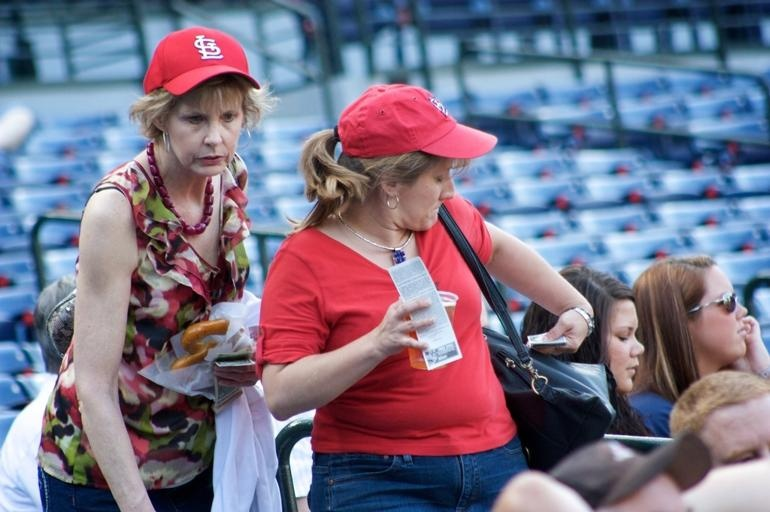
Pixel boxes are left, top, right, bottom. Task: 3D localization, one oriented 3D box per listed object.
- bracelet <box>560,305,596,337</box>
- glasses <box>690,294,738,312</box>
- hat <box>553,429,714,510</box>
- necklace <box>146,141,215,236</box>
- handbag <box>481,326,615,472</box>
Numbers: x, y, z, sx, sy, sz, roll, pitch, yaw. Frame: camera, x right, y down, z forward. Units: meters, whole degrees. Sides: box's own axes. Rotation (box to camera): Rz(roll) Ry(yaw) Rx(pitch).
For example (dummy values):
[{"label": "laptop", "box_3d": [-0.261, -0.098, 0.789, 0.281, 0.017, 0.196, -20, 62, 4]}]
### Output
[{"label": "bracelet", "box_3d": [1.471, 0.452, 9.633, 0.241, 0.204, 0.095, 27, 72, 44]}, {"label": "glasses", "box_3d": [2.639, 0.364, 10.382, 0.425, 0.107, 0.113, -7, 3, -16]}, {"label": "hat", "box_3d": [1.588, 1.325, 8.252, 0.757, 0.251, 0.483, -25, 4, 10]}, {"label": "necklace", "box_3d": [-1.517, -0.469, 9.364, 0.433, 0.682, 0.115, -25, 1, -43]}, {"label": "handbag", "box_3d": [1.204, 1.038, 9.483, 1.019, 0.724, 0.426, 16, 29, 26]}]
